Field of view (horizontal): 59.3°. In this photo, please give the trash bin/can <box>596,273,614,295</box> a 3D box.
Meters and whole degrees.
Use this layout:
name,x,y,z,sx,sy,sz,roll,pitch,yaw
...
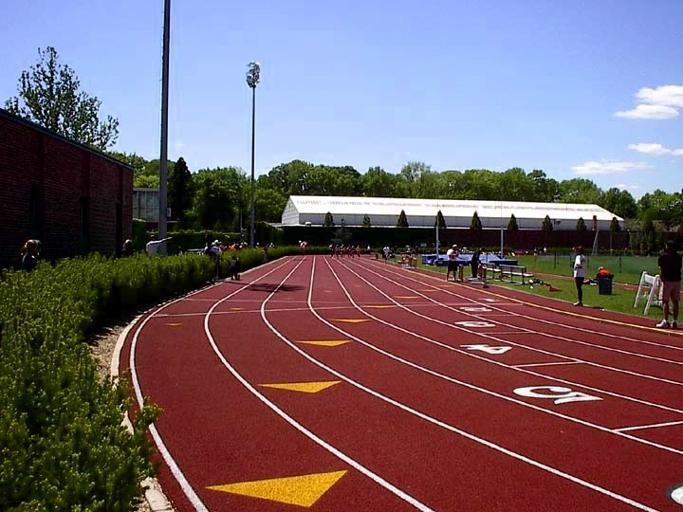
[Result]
name,x,y,z,sx,sy,sz,roll,pitch,yaw
trash bin/can,10.450,1.113,23.505,0.688,1.078,0.667,-1,-5,10

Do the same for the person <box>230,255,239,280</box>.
name,x,y,z,sx,sy,sz,roll,pitch,yaw
person,-5.566,0.614,31.054,0.407,1.208,1.380,0,4,-14

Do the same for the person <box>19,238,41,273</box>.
name,x,y,z,sx,sy,sz,roll,pitch,yaw
person,-7.185,-0.028,13.835,0.370,0.655,1.287,-1,4,-28
